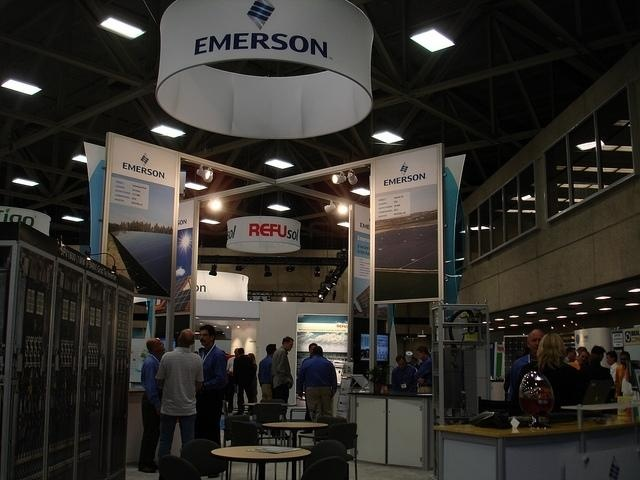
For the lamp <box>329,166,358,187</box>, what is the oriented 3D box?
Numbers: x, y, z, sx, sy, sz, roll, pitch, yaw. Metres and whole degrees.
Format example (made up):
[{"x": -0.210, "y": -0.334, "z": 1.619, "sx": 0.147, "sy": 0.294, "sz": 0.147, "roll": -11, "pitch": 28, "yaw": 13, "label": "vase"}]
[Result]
[{"x": 0.514, "y": -1.179, "z": 10.983, "sx": 0.413, "sy": 0.340, "sz": 0.723, "roll": 5, "pitch": 12, "yaw": 23, "label": "lamp"}]

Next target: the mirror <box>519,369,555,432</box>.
[{"x": 1.761, "y": 1.292, "z": 4.808, "sx": 0.250, "sy": 0.441, "sz": 0.445, "roll": -3, "pitch": -12, "yaw": 20, "label": "mirror"}]
